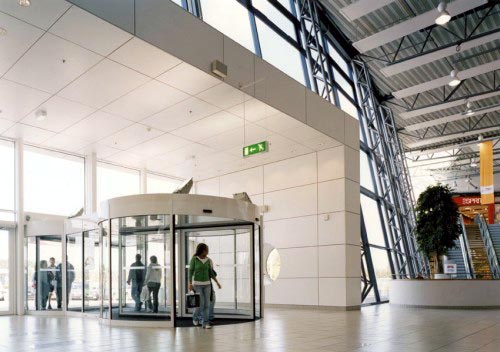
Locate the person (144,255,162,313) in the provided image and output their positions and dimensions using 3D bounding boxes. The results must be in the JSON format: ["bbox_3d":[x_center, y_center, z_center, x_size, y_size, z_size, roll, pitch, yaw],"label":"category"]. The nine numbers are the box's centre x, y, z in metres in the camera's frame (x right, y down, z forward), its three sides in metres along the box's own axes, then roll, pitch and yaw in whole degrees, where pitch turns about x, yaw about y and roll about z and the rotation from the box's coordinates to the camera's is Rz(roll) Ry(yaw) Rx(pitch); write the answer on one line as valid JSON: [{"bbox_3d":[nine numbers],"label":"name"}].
[{"bbox_3d":[-2.231,2.514,9.174,0.418,1.263,0.179,-11,-17,24],"label":"person"}]

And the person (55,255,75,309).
[{"bbox_3d":[-5.542,3.260,11.904,0.879,1.400,0.249,-14,-18,34],"label":"person"}]

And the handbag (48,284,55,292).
[{"bbox_3d":[-6.054,3.466,12.121,0.239,0.235,0.061,-13,-17,30],"label":"handbag"}]

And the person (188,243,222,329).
[{"bbox_3d":[-1.092,2.537,9.123,0.624,1.858,0.912,-9,-16,18],"label":"person"}]

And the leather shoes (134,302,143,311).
[{"bbox_3d":[-2.573,3.055,9.201,0.205,0.200,0.072,-10,-16,22],"label":"leather shoes"}]

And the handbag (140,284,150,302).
[{"bbox_3d":[-2.414,2.749,9.193,0.219,0.383,0.048,-8,-15,14],"label":"handbag"}]

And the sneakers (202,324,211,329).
[{"bbox_3d":[-0.962,3.365,8.822,0.195,0.077,0.077,-2,-6,16],"label":"sneakers"}]

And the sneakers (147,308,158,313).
[{"bbox_3d":[-2.244,3.118,9.155,0.277,0.116,0.094,10,-10,2],"label":"sneakers"}]

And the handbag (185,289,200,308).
[{"bbox_3d":[-1.230,2.712,8.783,0.374,0.484,0.302,4,-13,-28],"label":"handbag"}]
